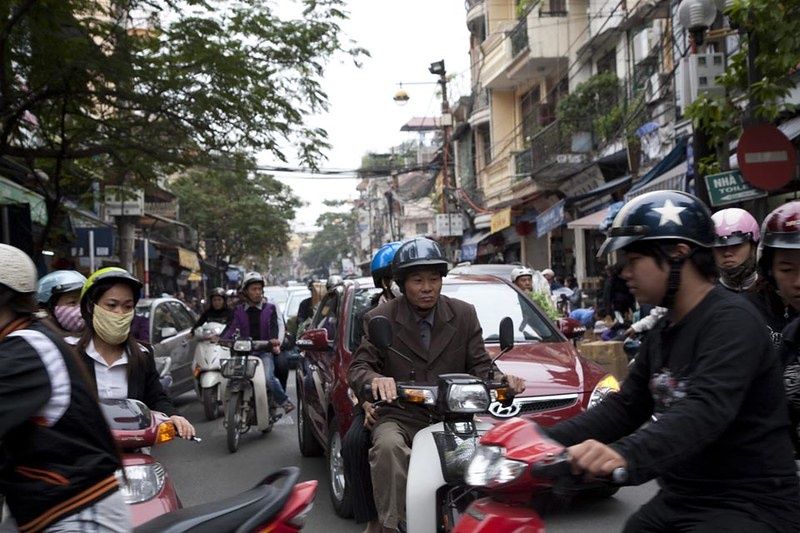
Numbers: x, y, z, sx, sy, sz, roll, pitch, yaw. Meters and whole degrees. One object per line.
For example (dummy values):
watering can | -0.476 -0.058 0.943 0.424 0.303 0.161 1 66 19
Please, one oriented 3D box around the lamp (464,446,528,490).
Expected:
lamp | 0.409 0.854 3.136 0.229 0.108 0.169 2 -8 -22

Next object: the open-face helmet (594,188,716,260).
open-face helmet | 1.267 -0.221 3.611 0.554 0.312 0.407 -2 3 11

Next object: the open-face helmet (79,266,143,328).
open-face helmet | -1.944 0.132 4.890 0.325 0.440 0.242 7 19 -35

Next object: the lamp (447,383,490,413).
lamp | 0.396 0.762 4.242 0.272 0.191 0.154 0 -1 -12

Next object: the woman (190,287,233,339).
woman | -2.831 0.629 11.195 0.477 0.527 0.914 -1 -11 -7

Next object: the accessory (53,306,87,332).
accessory | -2.524 0.408 5.645 0.219 0.167 0.203 -9 -8 -6

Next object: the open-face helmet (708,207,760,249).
open-face helmet | 2.771 -0.355 6.125 0.362 0.271 0.527 -2 10 43

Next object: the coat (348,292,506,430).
coat | 0.164 0.581 5.470 1.372 1.257 0.793 1 -8 -9

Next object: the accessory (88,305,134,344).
accessory | -1.865 0.373 4.773 0.225 0.222 0.264 12 3 -31

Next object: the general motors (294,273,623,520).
general motors | 0.543 0.899 7.481 2.254 1.599 3.818 0 2 -16

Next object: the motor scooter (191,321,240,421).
motor scooter | -2.706 1.434 10.754 0.656 1.330 1.863 -3 -1 -6

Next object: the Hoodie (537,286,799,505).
Hoodie | 1.293 0.681 3.678 1.126 1.041 0.837 0 -12 -14

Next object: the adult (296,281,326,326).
adult | -1.585 0.652 13.134 0.349 1.003 0.840 1 1 5

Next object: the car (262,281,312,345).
car | -2.858 0.950 18.776 1.034 1.010 1.974 0 -10 -7

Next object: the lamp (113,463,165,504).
lamp | -1.549 1.308 4.310 0.270 0.195 0.093 -15 1 -41

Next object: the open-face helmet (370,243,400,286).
open-face helmet | -0.143 -0.038 6.879 0.319 0.363 0.401 1 2 4

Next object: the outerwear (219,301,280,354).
outerwear | -1.970 0.740 9.849 0.882 0.688 0.509 1 -11 0

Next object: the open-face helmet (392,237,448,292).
open-face helmet | 0.153 -0.034 5.189 0.318 0.331 0.382 0 -2 -9

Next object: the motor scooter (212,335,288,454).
motor scooter | -1.902 1.571 9.263 0.684 1.351 1.169 0 -3 -7
